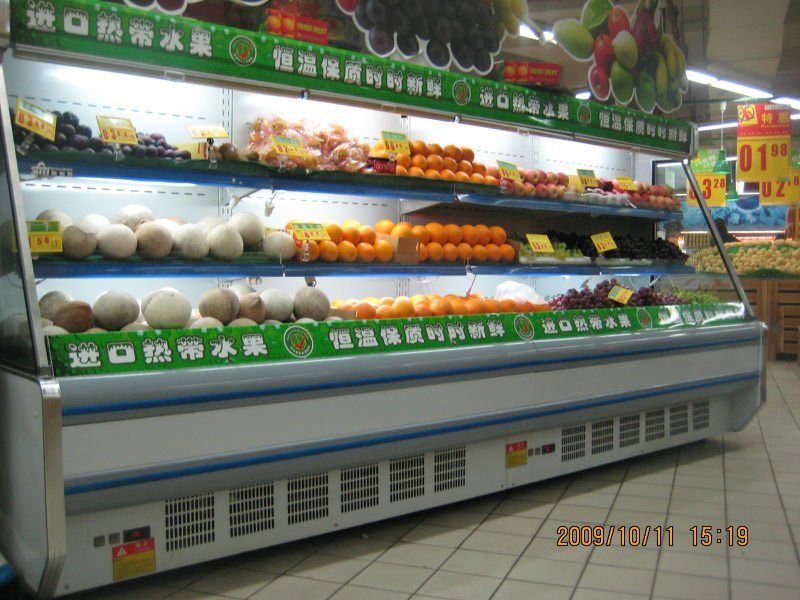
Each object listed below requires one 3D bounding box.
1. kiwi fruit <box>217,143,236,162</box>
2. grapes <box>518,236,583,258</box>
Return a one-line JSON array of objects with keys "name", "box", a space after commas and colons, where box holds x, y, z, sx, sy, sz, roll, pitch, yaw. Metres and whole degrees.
[{"name": "kiwi fruit", "box": [-0.913, -0.786, 2.995, 0.109, 0.100, 0.070, -2, 4, -20]}, {"name": "grapes", "box": [1.135, -0.388, 4.254, 0.262, 0.121, 0.371, -2, 7, -31]}]
